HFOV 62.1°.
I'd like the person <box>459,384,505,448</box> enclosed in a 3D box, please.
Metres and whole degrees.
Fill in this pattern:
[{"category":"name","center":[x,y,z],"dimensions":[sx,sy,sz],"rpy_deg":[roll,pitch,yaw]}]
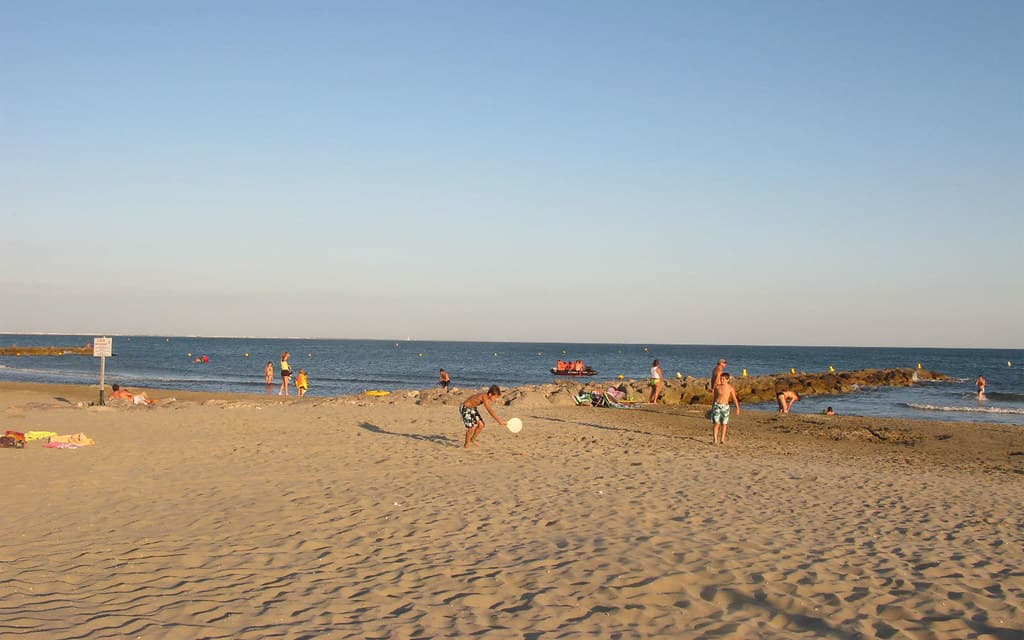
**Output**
[{"category":"person","center":[-0.753,2.500,21.738],"dimensions":[1.469,1.493,0.886],"rpy_deg":[13,26,-14]}]
